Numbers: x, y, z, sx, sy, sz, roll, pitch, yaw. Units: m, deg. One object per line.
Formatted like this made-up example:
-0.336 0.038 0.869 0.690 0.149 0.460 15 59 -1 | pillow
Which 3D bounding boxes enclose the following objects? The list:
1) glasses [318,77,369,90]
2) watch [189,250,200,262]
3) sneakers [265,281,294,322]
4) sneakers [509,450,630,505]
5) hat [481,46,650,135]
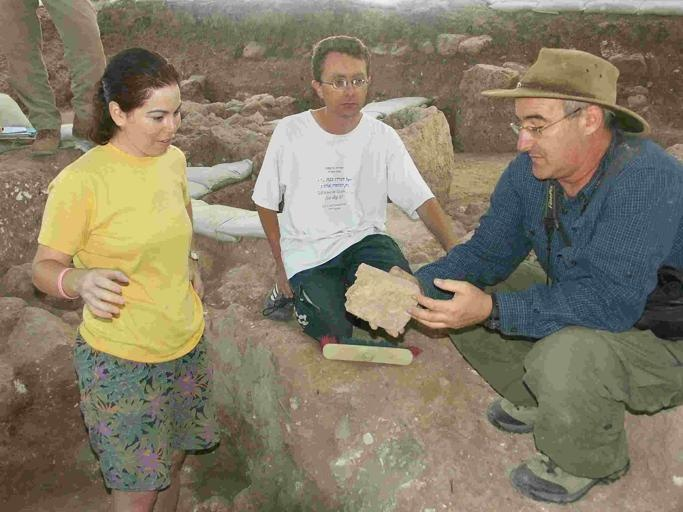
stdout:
0.011 -1.033 4.115 0.275 0.055 0.117 1 31 -3 | glasses
-1.129 -0.002 5.356 0.080 0.019 0.078 12 60 -43 | watch
-0.407 0.316 4.485 0.244 0.245 0.160 7 6 -23 | sneakers
1.162 1.140 3.583 0.498 0.224 0.263 -8 53 3 | sneakers
1.213 -0.769 3.609 0.556 0.208 0.498 15 10 -1 | hat
